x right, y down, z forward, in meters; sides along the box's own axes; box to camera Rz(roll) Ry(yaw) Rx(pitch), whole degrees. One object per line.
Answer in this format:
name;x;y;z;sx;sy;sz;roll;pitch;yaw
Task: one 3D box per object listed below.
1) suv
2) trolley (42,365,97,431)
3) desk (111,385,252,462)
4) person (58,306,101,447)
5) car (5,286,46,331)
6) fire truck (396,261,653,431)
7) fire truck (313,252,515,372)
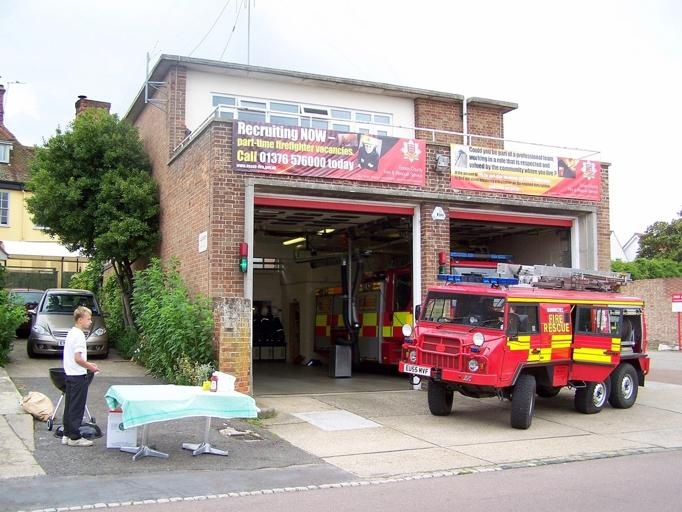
suv;-9.426;2.247;21.388;2.579;2.248;4.916;6;-3;-25
trolley;-4.817;2.638;11.008;1.156;1.310;1.294;5;-1;-23
desk;-2.448;2.674;9.918;2.317;1.300;2.145;3;-5;-30
person;-4.351;2.010;10.357;0.641;2.236;0.797;2;-5;-33
car;-10.400;1.778;20.345;1.533;2.113;1.401;1;-1;-25
fire truck;4.570;1.940;14.564;6.665;3.435;2.620;3;-2;-34
fire truck;1.805;2.264;23.230;3.114;4.363;9.670;4;-5;-27
